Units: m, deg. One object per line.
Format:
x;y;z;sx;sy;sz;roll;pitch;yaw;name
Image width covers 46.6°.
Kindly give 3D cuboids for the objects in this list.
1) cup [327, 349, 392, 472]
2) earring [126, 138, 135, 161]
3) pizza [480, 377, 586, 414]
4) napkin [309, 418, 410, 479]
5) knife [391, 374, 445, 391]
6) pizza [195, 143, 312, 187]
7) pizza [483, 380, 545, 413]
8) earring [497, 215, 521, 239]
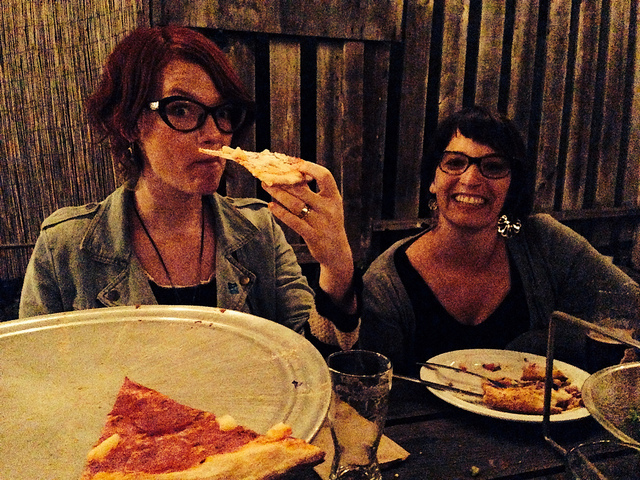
0.207;0.883;3.845;0.339;0.596;0.299;-2;11;-1;cup
-1.246;-0.590;4.890;0.052;0.121;0.037;-5;11;-17;earring
1.160;0.877;4.103;0.361;0.100;0.225;-1;8;15;pizza
0.200;1.108;3.868;0.339;0.054;0.367;-16;26;-42;napkin
0.567;0.818;4.262;0.477;0.023;0.064;14;-10;-15;knife
-0.398;-0.492;4.679;0.495;0.109;0.405;9;18;5;pizza
1.073;0.864;4.105;0.221;0.069;0.174;3;12;14;pizza
1.412;-0.113;5.577;0.171;0.167;0.064;-1;11;4;earring
